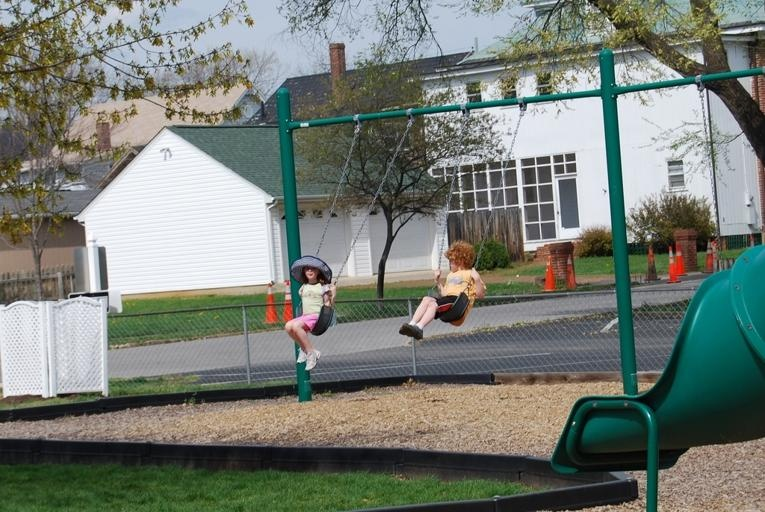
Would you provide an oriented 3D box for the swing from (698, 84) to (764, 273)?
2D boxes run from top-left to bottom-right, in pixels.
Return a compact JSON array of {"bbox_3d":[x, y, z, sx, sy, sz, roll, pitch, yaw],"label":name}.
[{"bbox_3d":[9.974,-2.259,42.701,1.813,6.408,0.993,1,1,-4],"label":"swing"}]

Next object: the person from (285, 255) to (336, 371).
[{"bbox_3d":[-1.495,1.080,29.821,0.945,2.381,1.073,0,0,-1],"label":"person"}]
